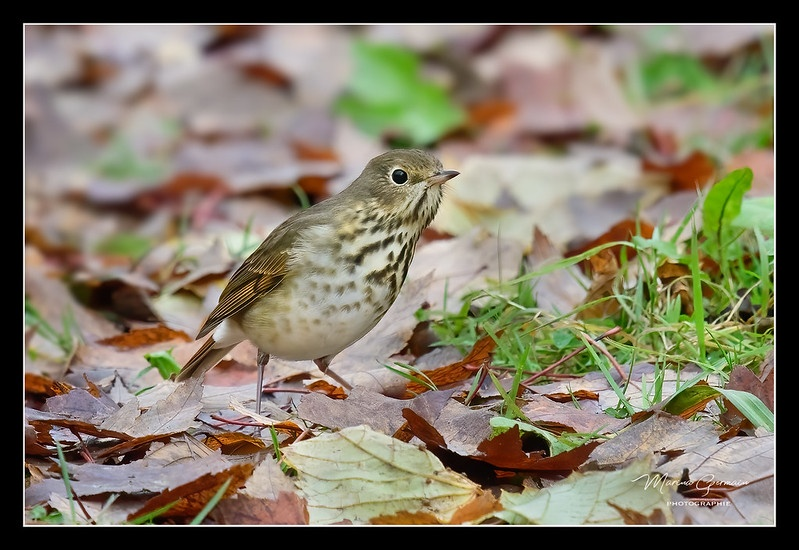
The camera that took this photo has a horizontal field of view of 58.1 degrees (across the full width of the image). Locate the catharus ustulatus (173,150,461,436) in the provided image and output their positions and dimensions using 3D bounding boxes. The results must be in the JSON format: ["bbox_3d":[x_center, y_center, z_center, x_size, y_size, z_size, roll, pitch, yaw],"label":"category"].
[{"bbox_3d":[-0.253,-0.059,3.611,1.243,1.237,1.386,-5,11,-15],"label":"catharus ustulatus"}]
